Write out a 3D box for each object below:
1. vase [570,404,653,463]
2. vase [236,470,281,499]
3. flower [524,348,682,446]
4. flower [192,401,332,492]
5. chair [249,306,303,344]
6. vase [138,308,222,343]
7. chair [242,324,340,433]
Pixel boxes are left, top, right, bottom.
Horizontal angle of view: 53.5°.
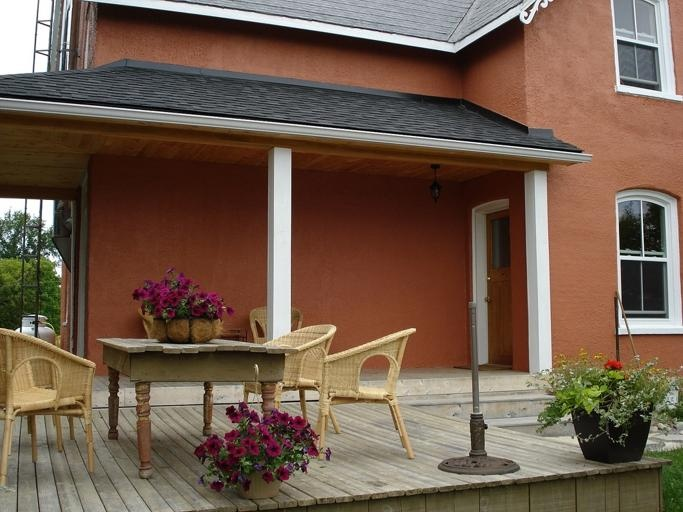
[{"bbox_3d":[2.239,1.521,5.607,0.442,0.393,0.509,-3,-8,12],"label":"vase"},{"bbox_3d":[-0.569,1.643,4.871,0.239,0.121,0.194,-1,-4,-10],"label":"vase"},{"bbox_3d":[2.550,1.453,6.795,1.052,0.770,0.936,3,-11,-25],"label":"flower"},{"bbox_3d":[-0.605,1.383,5.205,0.730,0.494,0.749,0,-8,-5],"label":"flower"},{"bbox_3d":[-0.924,0.975,9.515,0.572,0.745,0.537,0,0,-7],"label":"chair"},{"bbox_3d":[-1.356,0.604,5.808,0.551,0.228,0.501,12,-9,-14],"label":"vase"},{"bbox_3d":[-0.574,1.116,6.601,0.931,1.255,1.130,7,-10,-29],"label":"chair"}]
